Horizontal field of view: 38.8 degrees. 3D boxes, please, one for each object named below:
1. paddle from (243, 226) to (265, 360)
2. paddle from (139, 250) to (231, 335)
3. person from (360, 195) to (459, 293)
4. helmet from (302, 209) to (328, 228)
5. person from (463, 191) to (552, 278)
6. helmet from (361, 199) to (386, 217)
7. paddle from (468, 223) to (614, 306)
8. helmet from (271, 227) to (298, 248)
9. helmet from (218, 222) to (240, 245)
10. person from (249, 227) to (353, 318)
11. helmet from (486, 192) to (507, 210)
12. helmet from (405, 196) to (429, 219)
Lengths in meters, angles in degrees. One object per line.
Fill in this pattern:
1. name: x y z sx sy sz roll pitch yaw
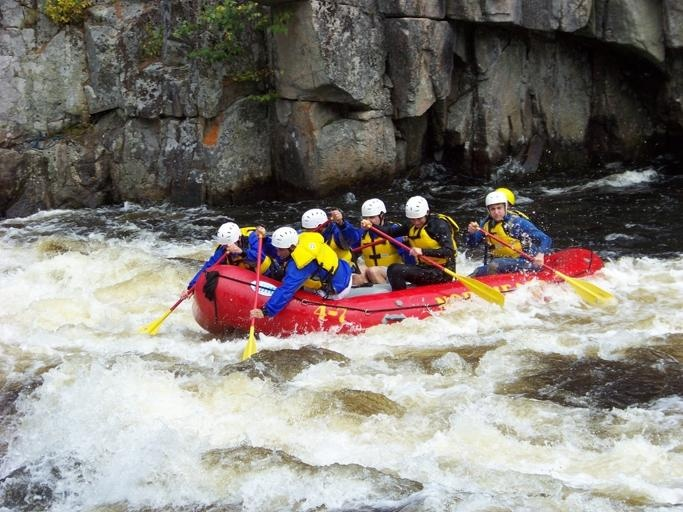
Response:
1. paddle: -1.134 0.587 12.554 0.219 1.486 0.111 10 -28 -12
2. paddle: -2.194 0.567 13.506 1.623 0.263 0.152 -42 5 -18
3. person: 0.936 0.043 13.435 1.415 1.682 0.830 6 3 -15
4. helmet: -0.372 -0.499 13.354 0.321 0.179 0.240 -11 18 -42
5. person: 2.323 -0.079 13.885 1.229 1.573 1.031 -3 4 -21
6. helmet: 0.430 -0.675 13.589 0.318 0.251 0.238 4 -9 -42
7. paddle: 2.757 0.164 13.648 1.992 0.297 0.157 35 19 21
8. helmet: -0.758 -0.233 12.699 0.323 0.250 0.238 4 4 -41
9. helmet: -1.535 -0.289 13.022 0.252 0.283 0.315 -1 17 8
10. person: -0.557 0.210 13.010 1.186 1.224 1.452 -2 -38 0
11. helmet: 2.230 -0.806 13.784 0.353 0.226 0.264 -5 6 -12
12. helmet: 1.049 -0.662 13.413 0.259 0.298 0.331 0 8 23
